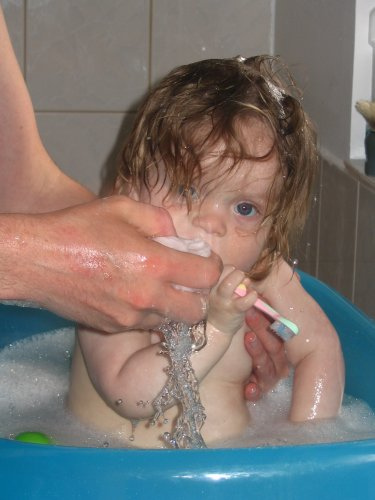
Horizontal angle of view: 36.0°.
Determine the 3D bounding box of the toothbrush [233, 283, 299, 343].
[{"bbox_3d":[0.100,0.092,0.830,0.118,0.027,0.059,34,3,-32],"label":"toothbrush"}]
